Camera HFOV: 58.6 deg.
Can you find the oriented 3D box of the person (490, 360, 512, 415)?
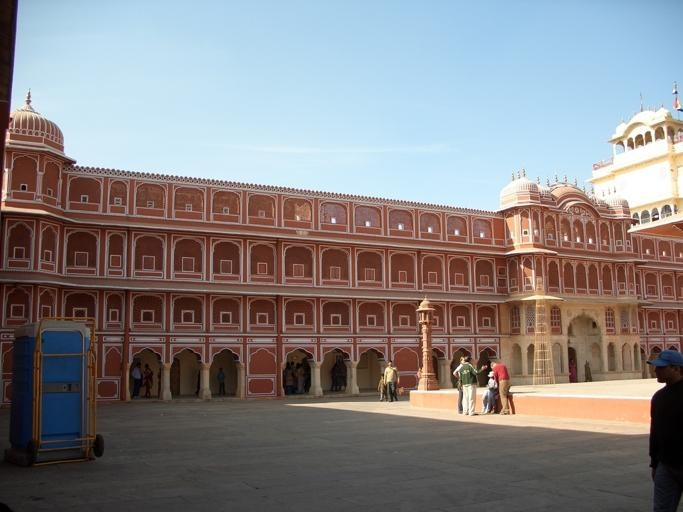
[{"bbox_3d":[5.013,4.099,19.026,0.595,1.523,0.927,-3,-9,14],"label":"person"}]

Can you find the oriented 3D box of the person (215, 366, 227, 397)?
[{"bbox_3d":[-6.554,6.760,33.176,0.482,1.475,2.077,1,-9,-11],"label":"person"}]

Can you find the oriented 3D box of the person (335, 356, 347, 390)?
[{"bbox_3d":[-0.053,6.730,35.486,0.553,1.984,1.135,-1,-9,-1],"label":"person"}]
